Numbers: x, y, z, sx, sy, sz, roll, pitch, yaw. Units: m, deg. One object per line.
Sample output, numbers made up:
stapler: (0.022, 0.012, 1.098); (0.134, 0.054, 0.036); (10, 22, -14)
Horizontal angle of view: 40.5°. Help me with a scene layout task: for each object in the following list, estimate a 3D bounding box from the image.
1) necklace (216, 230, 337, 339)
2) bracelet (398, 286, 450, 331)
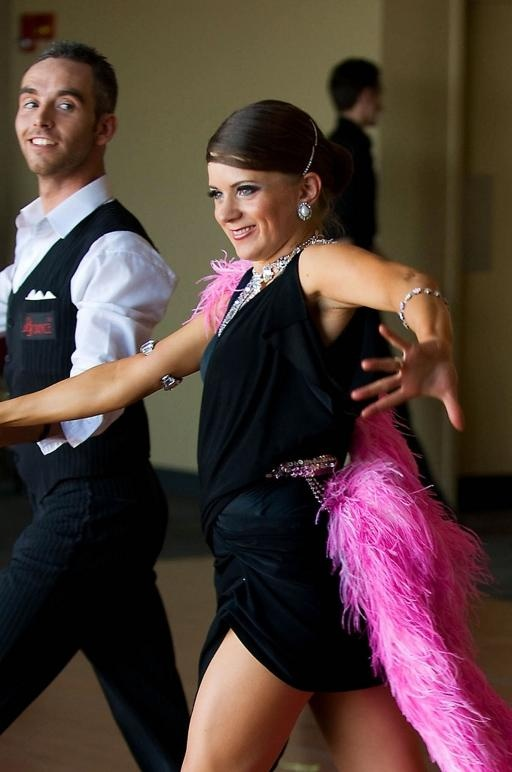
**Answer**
necklace: (0.026, -0.113, 0.795); (0.054, 0.183, 0.041); (43, 13, 1)
bracelet: (0.149, -0.070, 0.630); (0.050, 0.039, 0.043); (-3, 11, -21)
